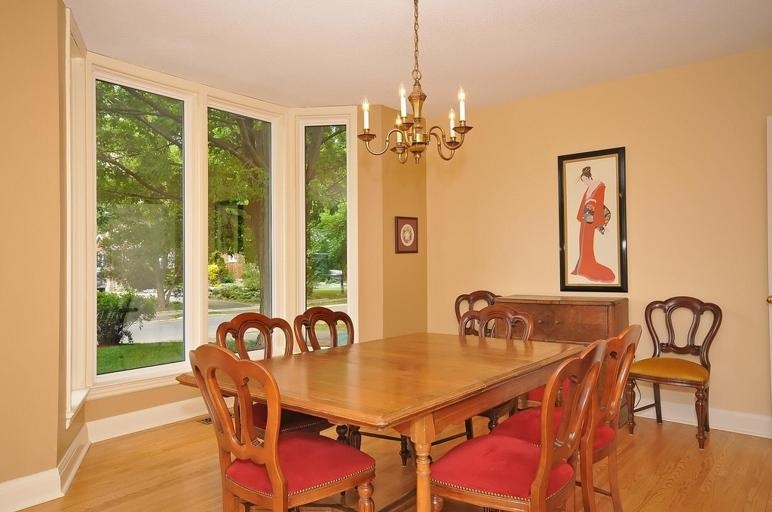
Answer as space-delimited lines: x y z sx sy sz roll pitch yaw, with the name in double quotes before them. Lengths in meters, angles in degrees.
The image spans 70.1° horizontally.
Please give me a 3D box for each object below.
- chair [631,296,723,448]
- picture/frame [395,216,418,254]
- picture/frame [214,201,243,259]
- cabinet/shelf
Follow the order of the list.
"chair" 2.830 1.099 5.413 0.741 1.297 0.876 5 12 31
"picture/frame" 0.242 -0.263 6.940 0.033 0.473 0.485 -4 -5 39
"picture/frame" -1.788 -0.318 6.335 0.409 0.612 0.105 -9 13 -37
"cabinet/shelf" 1.427 0.840 4.370 1.173 1.111 0.551 -6 -10 39
